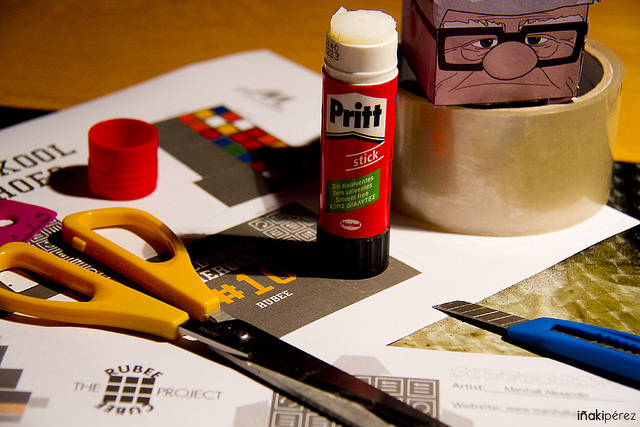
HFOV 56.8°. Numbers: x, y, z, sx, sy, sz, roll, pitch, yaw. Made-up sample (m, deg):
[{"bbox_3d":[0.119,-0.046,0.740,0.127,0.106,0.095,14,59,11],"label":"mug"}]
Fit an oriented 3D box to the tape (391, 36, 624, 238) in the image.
[{"bbox_3d":[0.254,-0.130,0.839,0.309,0.177,0.305,-24,38,-29],"label":"tape"}]
